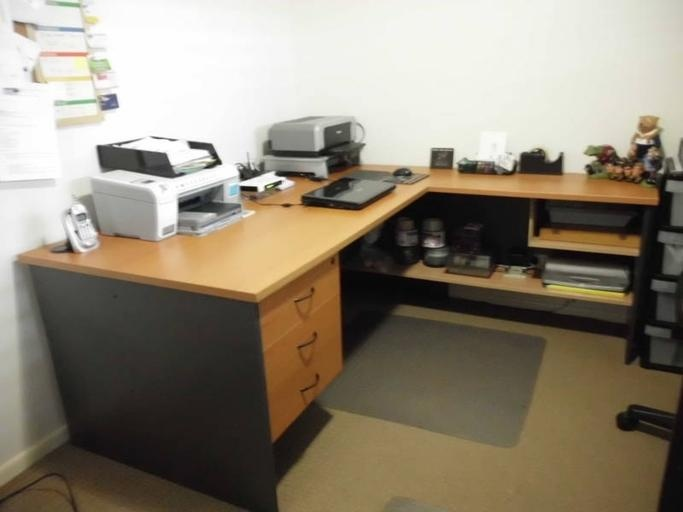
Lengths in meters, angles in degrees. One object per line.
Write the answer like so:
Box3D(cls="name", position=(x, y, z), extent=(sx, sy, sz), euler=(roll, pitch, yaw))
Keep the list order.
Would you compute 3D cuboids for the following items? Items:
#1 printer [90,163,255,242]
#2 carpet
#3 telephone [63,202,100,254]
Box3D(cls="printer", position=(-0.764, -0.261, 2.458), extent=(0.530, 0.246, 0.578), euler=(13, 22, 23))
Box3D(cls="carpet", position=(0.523, 0.644, 2.802), extent=(0.846, 0.023, 0.825), euler=(3, 46, 27))
Box3D(cls="telephone", position=(-1.102, -0.107, 2.166), extent=(0.073, 0.212, 0.121), euler=(-13, 5, 41))
